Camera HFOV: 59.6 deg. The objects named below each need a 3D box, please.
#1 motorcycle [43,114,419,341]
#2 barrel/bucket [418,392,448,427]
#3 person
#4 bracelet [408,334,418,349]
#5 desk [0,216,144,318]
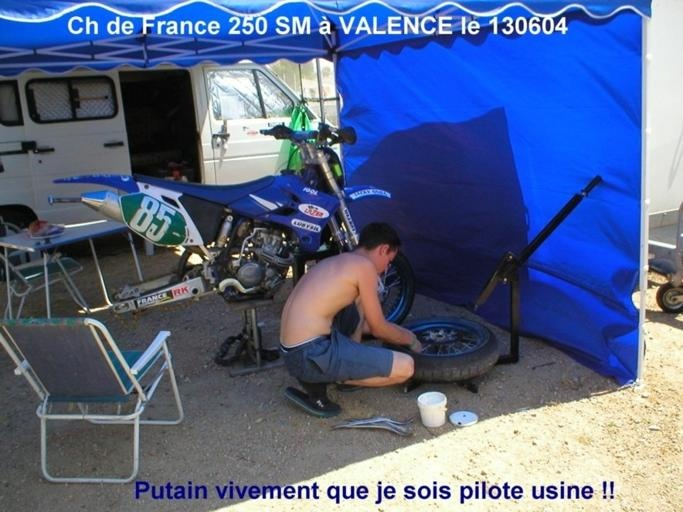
[{"bbox_3d":[-0.803,-0.464,5.545,3.234,1.877,1.398,-4,20,-18],"label":"motorcycle"},{"bbox_3d":[0.661,1.079,4.258,0.231,0.185,0.214,-6,20,2],"label":"barrel/bucket"},{"bbox_3d":[-0.135,0.270,4.882,1.261,1.670,1.177,-1,17,-19],"label":"person"},{"bbox_3d":[0.564,0.669,4.657,0.075,0.044,0.100,31,0,0],"label":"bracelet"},{"bbox_3d":[-2.891,0.128,6.238,0.611,0.687,0.896,13,19,31],"label":"desk"}]
